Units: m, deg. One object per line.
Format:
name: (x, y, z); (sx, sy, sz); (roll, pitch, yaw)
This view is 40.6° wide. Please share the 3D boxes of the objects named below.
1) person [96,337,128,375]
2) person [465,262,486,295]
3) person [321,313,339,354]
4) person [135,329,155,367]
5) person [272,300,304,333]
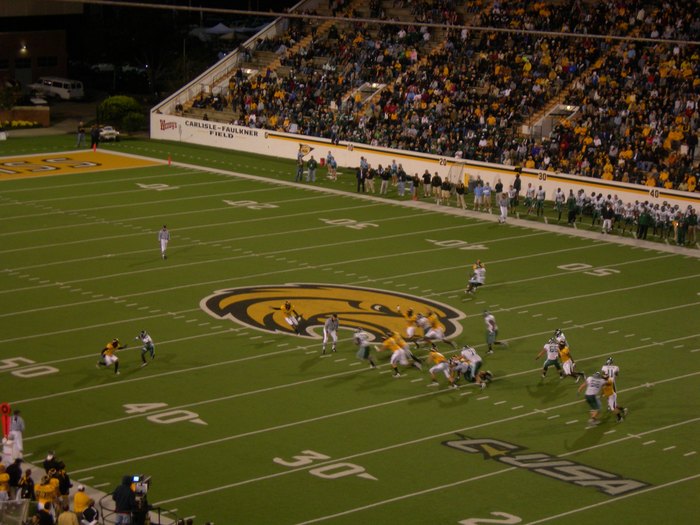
person: (-7.342, 2.804, 29.238); (0.749, 1.072, 1.396); (2, 7, -1)
person: (4.887, 0.480, 36.604); (0.716, 1.235, 2.323); (3, 7, 8)
person: (-0.660, 2.203, 31.062); (0.522, 1.323, 1.593); (2, 7, -1)
person: (-6.547, 2.748, 30.033); (0.724, 0.854, 0.683); (23, 34, 17)
person: (-2.010, 1.735, 32.573); (0.863, 1.138, 2.713); (2, 6, -3)
